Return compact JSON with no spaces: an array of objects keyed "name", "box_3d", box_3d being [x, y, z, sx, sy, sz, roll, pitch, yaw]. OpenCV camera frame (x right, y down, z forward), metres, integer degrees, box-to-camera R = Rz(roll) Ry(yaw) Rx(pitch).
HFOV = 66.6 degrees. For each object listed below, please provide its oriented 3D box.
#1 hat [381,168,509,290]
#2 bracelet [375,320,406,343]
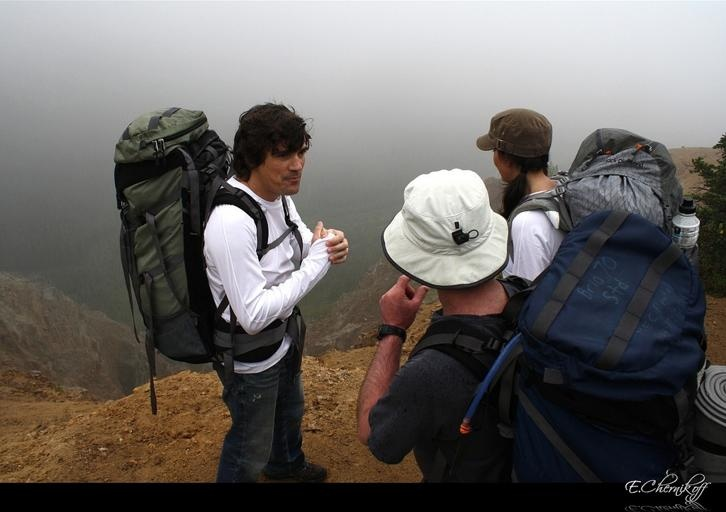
[{"name":"hat","box_3d":[0.411,-0.056,2.874,0.598,0.315,0.609,-36,51,-15]},{"name":"bracelet","box_3d":[0.153,0.414,2.970,0.142,0.133,0.093,7,60,9]}]
